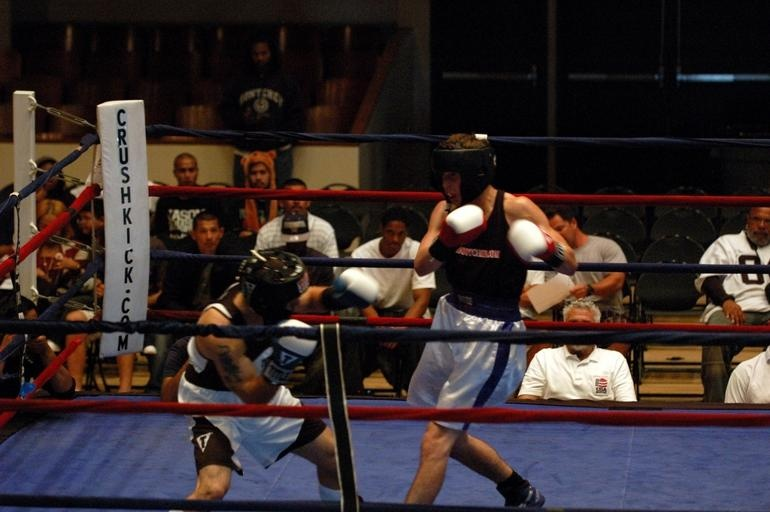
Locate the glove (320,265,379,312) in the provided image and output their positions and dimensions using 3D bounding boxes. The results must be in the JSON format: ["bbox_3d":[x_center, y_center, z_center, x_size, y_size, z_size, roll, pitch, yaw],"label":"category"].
[{"bbox_3d":[-0.164,0.173,5.977,0.275,0.220,0.202,26,10,21],"label":"glove"}]

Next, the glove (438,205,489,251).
[{"bbox_3d":[0.391,-0.152,6.054,0.263,0.166,0.225,-26,-17,-22],"label":"glove"}]

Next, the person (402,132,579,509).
[{"bbox_3d":[0.542,0.348,6.154,0.798,2.015,0.572,2,5,0],"label":"person"}]

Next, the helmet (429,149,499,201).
[{"bbox_3d":[0.437,-0.414,6.168,0.336,0.226,0.302,4,-5,-18],"label":"helmet"}]

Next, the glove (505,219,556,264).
[{"bbox_3d":[0.755,-0.084,6.019,0.228,0.221,0.144,3,5,10],"label":"glove"}]

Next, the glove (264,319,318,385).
[{"bbox_3d":[-0.473,0.499,5.680,0.256,0.362,0.486,2,4,-5],"label":"glove"}]
